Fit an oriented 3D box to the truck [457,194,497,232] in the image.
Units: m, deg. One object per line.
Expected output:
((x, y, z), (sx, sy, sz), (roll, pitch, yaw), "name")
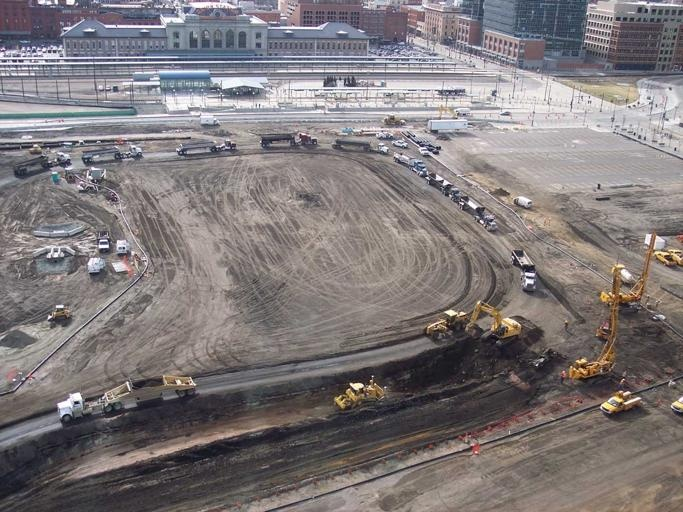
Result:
((19.671, -6.026, 81.610), (2.914, 2.020, 8.643), (-18, 37, -22), "truck")

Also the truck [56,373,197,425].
((-17.710, 11.807, 47.912), (10.124, 2.207, 1.609), (-6, 26, -21), "truck")

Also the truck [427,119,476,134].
((22.689, -27.039, 120.234), (9.257, 2.546, 3.191), (-3, 23, -11), "truck")

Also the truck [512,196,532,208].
((28.401, -8.036, 87.149), (3.367, 1.160, 1.645), (-4, 47, -26), "truck")

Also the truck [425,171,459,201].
((15.623, -10.968, 90.526), (3.811, 1.449, 5.420), (-24, 46, -25), "truck")

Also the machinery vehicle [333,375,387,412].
((2.018, 11.804, 50.272), (5.492, 1.859, 3.870), (1, 12, -7), "machinery vehicle")

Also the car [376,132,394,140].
((8.642, -23.677, 113.466), (3.647, 1.031, 1.469), (0, 34, 1), "car")

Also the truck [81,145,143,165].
((-38.936, -17.048, 97.172), (9.274, 2.510, 4.684), (-9, 23, -27), "truck")

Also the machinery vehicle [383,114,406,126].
((11.415, -29.521, 126.006), (3.777, 1.827, 4.584), (-3, 20, -11), "machinery vehicle")

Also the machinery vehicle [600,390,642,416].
((23.855, 12.657, 49.659), (3.716, 0.772, 1.918), (-12, 16, -15), "machinery vehicle")

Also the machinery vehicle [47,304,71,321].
((-28.736, 5.789, 58.584), (2.249, 1.261, 1.618), (-4, 23, -12), "machinery vehicle")

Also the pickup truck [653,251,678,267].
((41.230, 0.381, 73.588), (2.187, 0.576, 2.044), (-9, 37, -7), "pickup truck")

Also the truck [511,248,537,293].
((21.782, 1.772, 68.209), (2.291, 1.463, 6.095), (2, 32, 7), "truck")

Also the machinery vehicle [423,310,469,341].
((10.636, 6.889, 58.199), (5.572, 1.787, 2.257), (-12, 34, -19), "machinery vehicle")

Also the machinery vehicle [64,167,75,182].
((-42.168, -12.593, 89.378), (1.554, 1.281, 4.267), (-9, 33, -35), "machinery vehicle")

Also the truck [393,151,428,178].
((11.855, -15.602, 98.107), (2.772, 2.135, 8.919), (-29, 40, -28), "truck")

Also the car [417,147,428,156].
((15.057, -19.163, 105.838), (1.656, 0.617, 1.966), (-3, 36, -9), "car")

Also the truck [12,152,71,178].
((-48.180, -14.531, 91.604), (11.163, 3.122, 2.752), (-17, 60, -32), "truck")
